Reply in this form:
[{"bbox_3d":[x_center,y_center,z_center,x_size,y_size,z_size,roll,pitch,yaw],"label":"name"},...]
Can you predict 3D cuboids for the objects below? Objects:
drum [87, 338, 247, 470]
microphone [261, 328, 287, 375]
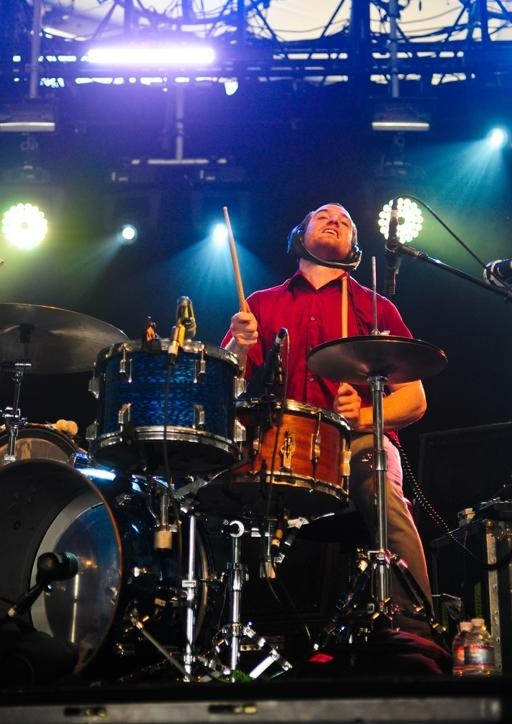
[{"bbox_3d":[-0.262,0.176,4.059,0.525,0.334,0.523,1,-25,0],"label":"drum"},{"bbox_3d":[0.080,-0.035,4.696,0.065,0.070,0.230,17,-3,12],"label":"microphone"}]
